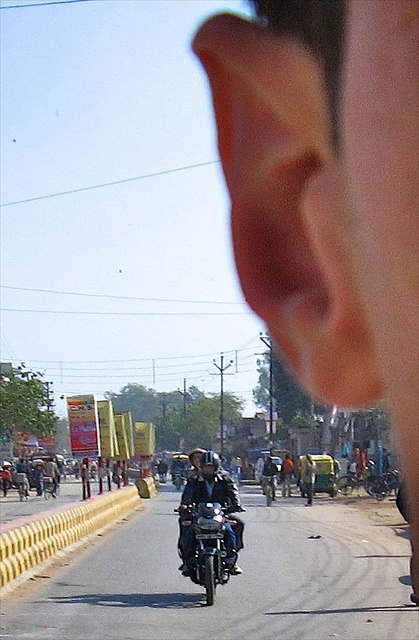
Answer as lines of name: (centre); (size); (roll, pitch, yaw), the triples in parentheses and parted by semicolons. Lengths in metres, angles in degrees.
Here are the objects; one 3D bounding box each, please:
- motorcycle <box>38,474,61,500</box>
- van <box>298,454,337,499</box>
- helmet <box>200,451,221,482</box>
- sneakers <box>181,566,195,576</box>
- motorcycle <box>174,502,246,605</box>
motorcycle: (-6.149, 6.547, 28.065); (0.485, 0.652, 1.109); (-5, -18, 2)
van: (3.871, 5.360, 26.518); (1.327, 1.652, 2.176); (-2, 13, -2)
helmet: (0.017, 1.769, 8.735); (0.264, 0.356, 0.350); (-1, -1, 0)
sneakers: (-0.241, 2.834, 8.120); (0.105, 0.136, 0.139); (5, -11, -13)
motorcycle: (-0.002, 2.621, 8.484); (0.711, 1.077, 1.853); (-1, -7, 0)
